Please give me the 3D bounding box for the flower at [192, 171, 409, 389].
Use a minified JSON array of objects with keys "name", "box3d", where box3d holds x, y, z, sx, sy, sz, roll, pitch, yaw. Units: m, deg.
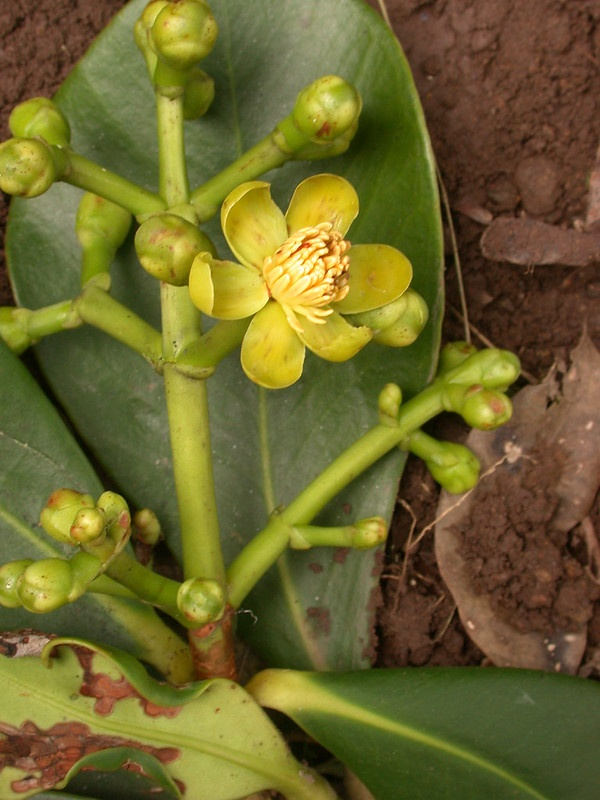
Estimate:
[{"name":"flower","box3d":[-0.012,-0.150,1.201,0.327,0.117,0.275,-3,82,-24]}]
